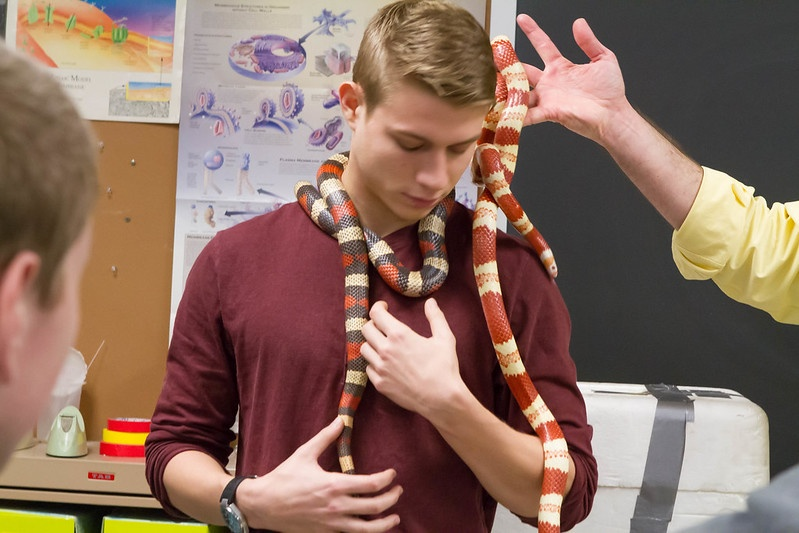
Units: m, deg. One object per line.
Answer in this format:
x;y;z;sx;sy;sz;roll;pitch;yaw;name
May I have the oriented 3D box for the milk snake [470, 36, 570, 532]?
0.312;-0.013;2.052;0.252;1.398;0.078;6;-10;-6;milk snake
